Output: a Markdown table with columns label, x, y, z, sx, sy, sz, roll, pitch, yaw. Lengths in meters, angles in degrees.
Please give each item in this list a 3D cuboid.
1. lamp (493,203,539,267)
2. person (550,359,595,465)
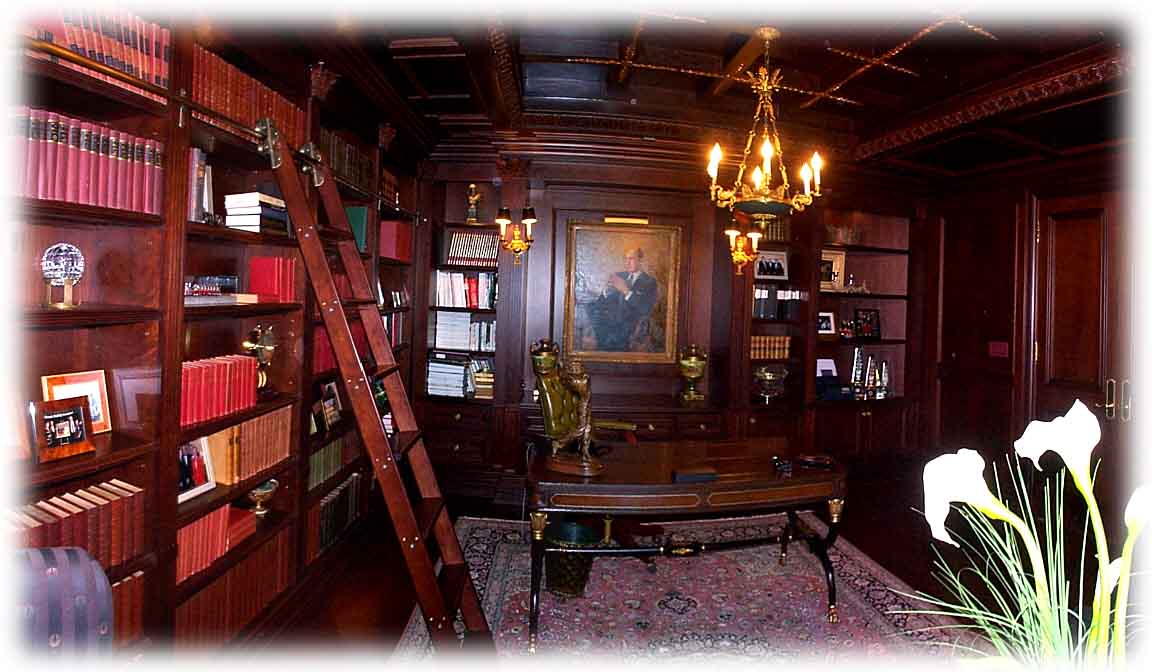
| label | x | y | z | sx | sy | sz | roll | pitch | yaw |
| --- | --- | --- | --- | --- | --- | --- | --- | --- | --- |
| lamp | -0.574 | -0.979 | 7.018 | 0.638 | 0.672 | 0.398 | 0 | -9 | -5 |
| person | -0.017 | 0.544 | 5.153 | 0.269 | 0.703 | 0.445 | 2 | 15 | 2 |
